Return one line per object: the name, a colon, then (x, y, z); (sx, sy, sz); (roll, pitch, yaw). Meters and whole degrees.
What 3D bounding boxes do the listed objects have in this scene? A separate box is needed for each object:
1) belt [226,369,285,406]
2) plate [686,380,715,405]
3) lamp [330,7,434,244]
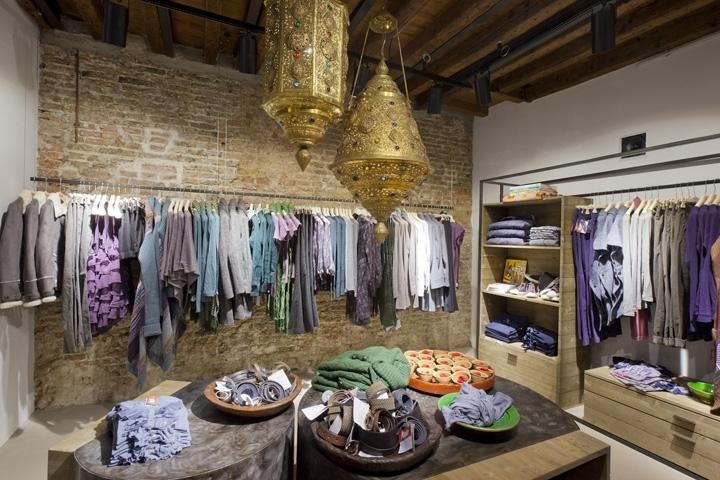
belt: (-0.809, 1.164, 3.397); (0.237, 0.131, 0.313); (20, 23, 37)
plate: (3.250, 1.447, 4.172); (0.196, 0.085, 0.222); (0, -4, -22)
lamp: (0.163, -0.840, 3.125); (0.719, 1.614, 0.714); (-4, -6, 42)
